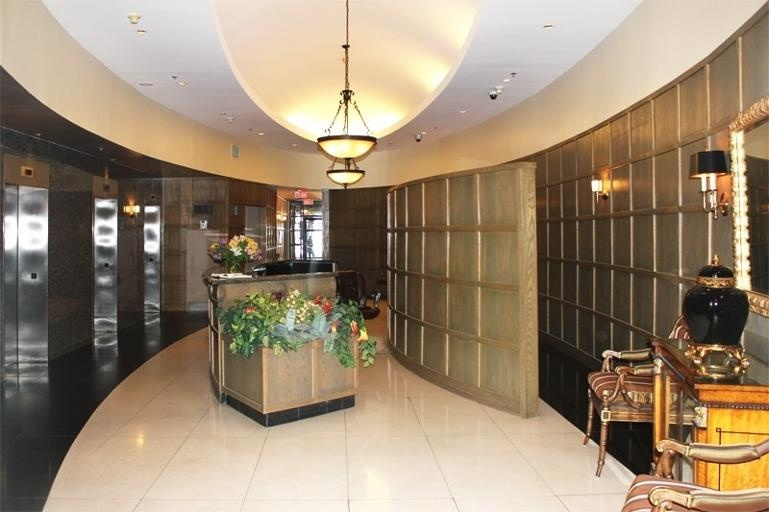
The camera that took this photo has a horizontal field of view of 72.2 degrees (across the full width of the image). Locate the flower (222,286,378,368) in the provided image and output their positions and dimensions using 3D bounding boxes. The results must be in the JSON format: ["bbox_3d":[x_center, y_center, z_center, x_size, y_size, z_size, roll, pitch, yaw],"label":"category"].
[{"bbox_3d":[-0.868,0.842,6.370,1.274,0.568,1.184,7,-1,30],"label":"flower"}]

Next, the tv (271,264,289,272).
[{"bbox_3d":[-1.820,0.202,9.366,0.178,0.073,0.179,5,8,22],"label":"tv"}]

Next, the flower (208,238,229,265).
[{"bbox_3d":[-2.819,-0.059,8.947,0.431,0.239,0.432,-3,25,12],"label":"flower"}]

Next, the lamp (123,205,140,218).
[{"bbox_3d":[-4.586,-0.815,9.546,0.102,0.229,0.283,0,1,10],"label":"lamp"}]

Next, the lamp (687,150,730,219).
[{"bbox_3d":[3.228,-0.704,5.241,0.379,0.686,0.603,7,12,32],"label":"lamp"}]
